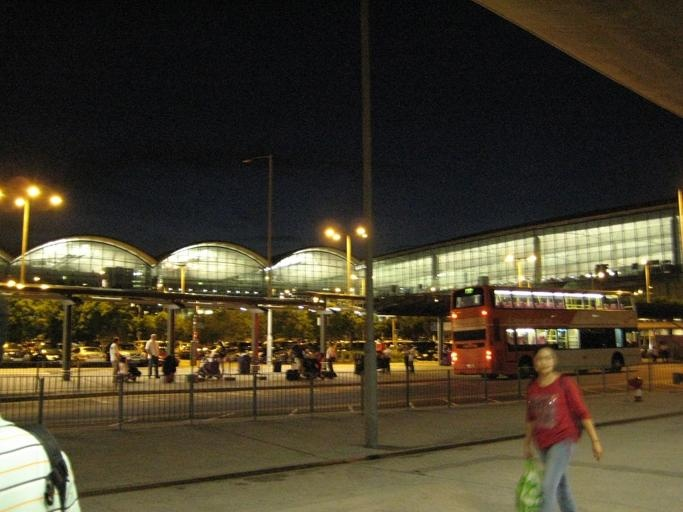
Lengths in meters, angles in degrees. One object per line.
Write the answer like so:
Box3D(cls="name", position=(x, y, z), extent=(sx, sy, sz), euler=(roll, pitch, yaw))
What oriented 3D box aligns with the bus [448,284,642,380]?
Box3D(cls="bus", position=(11.429, 4.063, 34.678), extent=(11.743, 3.983, 3.537), euler=(4, -9, -31))
